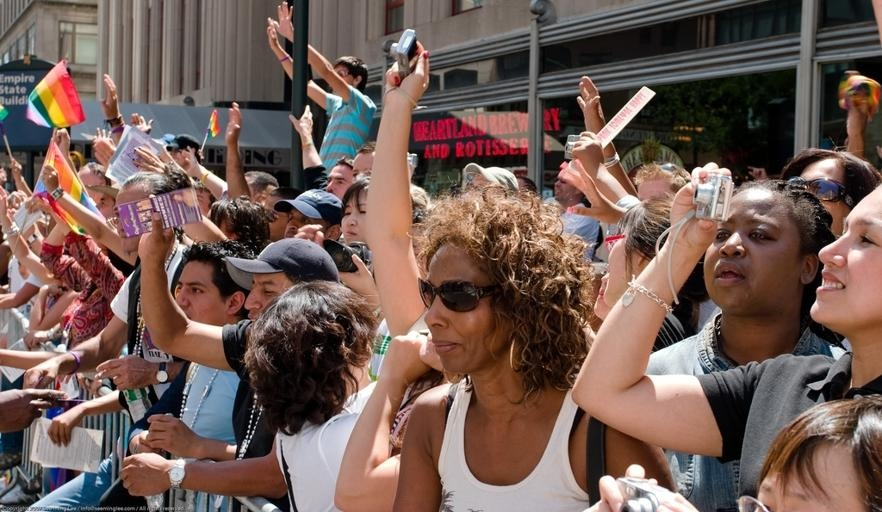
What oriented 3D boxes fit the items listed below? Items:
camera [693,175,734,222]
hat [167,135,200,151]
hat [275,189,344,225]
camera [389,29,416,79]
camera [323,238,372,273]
[{"bbox_3d":[1.573,-0.340,4.983,0.227,0.273,0.127,2,6,4],"label":"camera"},{"bbox_3d":[-3.259,-1.438,10.975,0.356,0.178,0.246,16,-6,-27],"label":"hat"},{"bbox_3d":[-1.260,-0.481,8.402,0.532,0.214,0.346,11,-4,-41],"label":"hat"},{"bbox_3d":[-0.307,-1.414,6.083,0.124,0.231,0.308,17,-32,5],"label":"camera"},{"bbox_3d":[-0.826,-0.051,7.490,0.240,0.218,0.377,-2,2,-25],"label":"camera"}]
